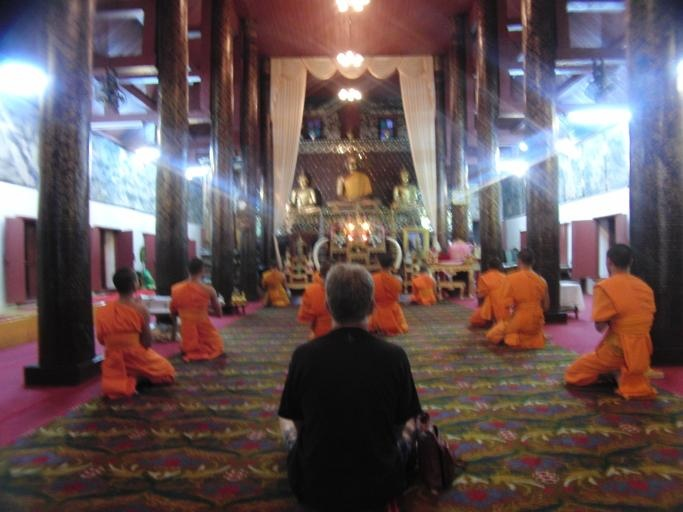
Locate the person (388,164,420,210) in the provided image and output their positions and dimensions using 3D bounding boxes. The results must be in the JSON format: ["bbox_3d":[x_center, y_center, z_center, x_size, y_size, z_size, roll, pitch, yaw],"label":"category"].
[{"bbox_3d":[1.735,-1.893,14.571,0.750,1.212,0.719,-1,-1,-15],"label":"person"}]

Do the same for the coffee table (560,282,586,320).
[{"bbox_3d":[3.373,0.671,7.819,0.440,0.502,0.471,1,-1,-20],"label":"coffee table"}]

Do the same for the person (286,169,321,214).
[{"bbox_3d":[-1.098,-1.803,14.550,0.974,1.566,0.813,1,-6,-34],"label":"person"}]

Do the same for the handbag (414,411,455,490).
[{"bbox_3d":[0.709,1.472,3.811,0.189,0.474,0.446,-13,-25,15],"label":"handbag"}]

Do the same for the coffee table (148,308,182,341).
[{"bbox_3d":[-2.233,0.924,6.691,0.451,0.183,0.476,3,11,-9],"label":"coffee table"}]
